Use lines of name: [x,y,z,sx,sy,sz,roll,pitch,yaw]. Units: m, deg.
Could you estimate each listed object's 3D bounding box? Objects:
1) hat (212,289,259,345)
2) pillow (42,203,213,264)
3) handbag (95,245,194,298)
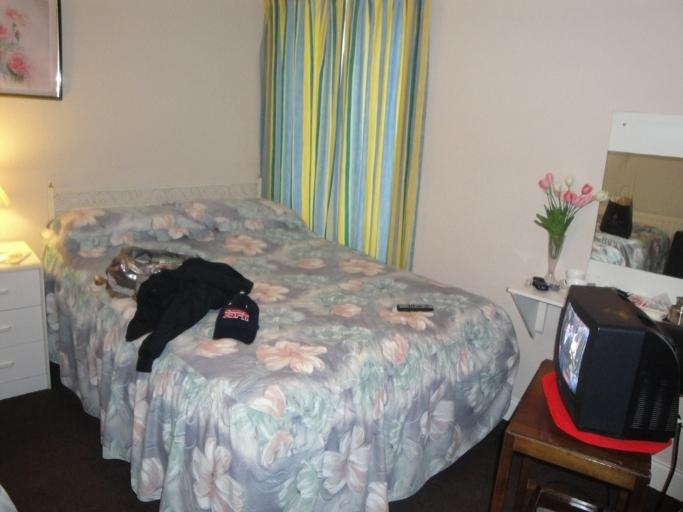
hat: [-0.528,0.310,2.763,0.147,0.103,0.251,7,28,-2]
pillow: [-1.499,-0.203,3.731,0.723,0.162,0.541,-10,29,-32]
handbag: [-1.204,0.080,3.216,0.305,0.131,0.412,9,26,22]
